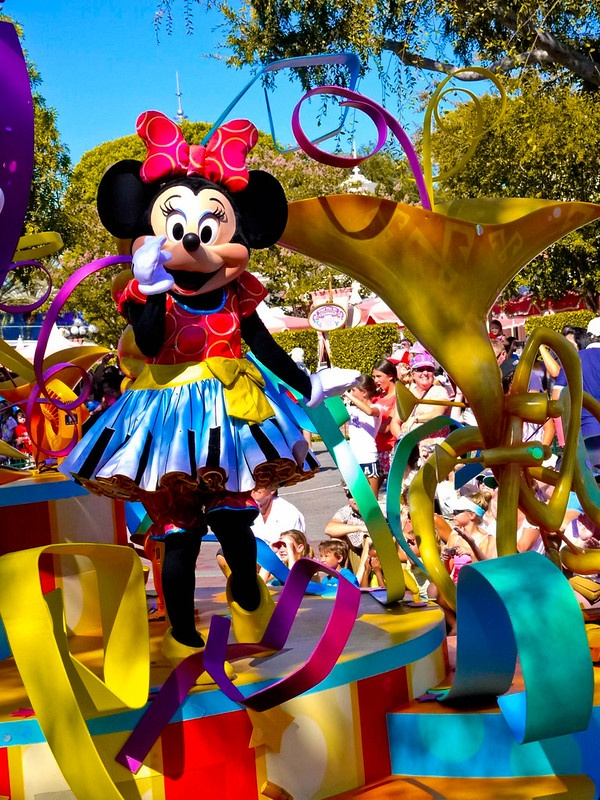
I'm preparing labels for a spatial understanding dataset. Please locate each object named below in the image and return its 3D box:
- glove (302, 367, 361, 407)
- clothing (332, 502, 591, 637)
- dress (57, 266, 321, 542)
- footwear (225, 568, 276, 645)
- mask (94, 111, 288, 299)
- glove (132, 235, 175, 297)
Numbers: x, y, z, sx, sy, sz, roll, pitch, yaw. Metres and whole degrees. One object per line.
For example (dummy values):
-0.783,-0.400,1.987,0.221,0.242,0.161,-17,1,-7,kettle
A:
0.089,-0.045,1.822,0.156,0.056,0.084,-19,57,-26,glove
0.493,0.501,1.958,0.687,0.578,0.236,-8,-27,19,clothing
-0.247,-0.053,1.673,0.636,0.530,0.453,-4,8,-17,dress
-0.126,0.549,1.763,0.129,0.182,0.200,-11,-19,12,footwear
-0.284,-0.532,1.766,0.555,0.409,0.056,9,16,10,mask
-0.334,-0.312,1.487,0.083,0.134,0.142,-4,9,-1,glove
